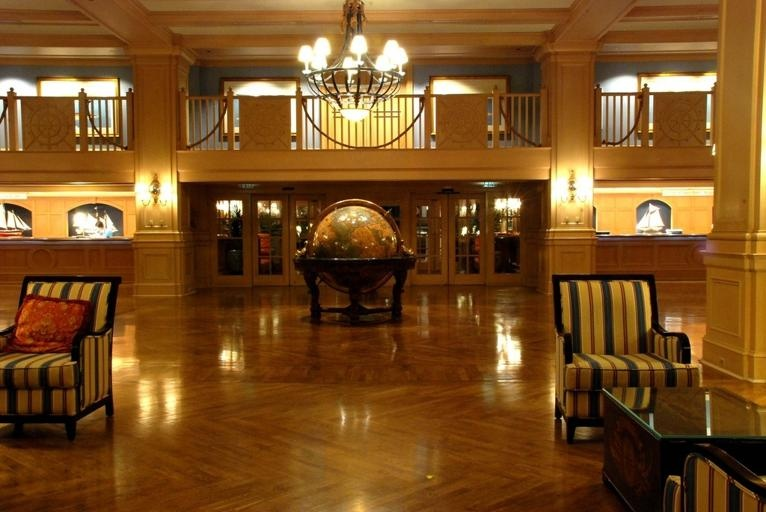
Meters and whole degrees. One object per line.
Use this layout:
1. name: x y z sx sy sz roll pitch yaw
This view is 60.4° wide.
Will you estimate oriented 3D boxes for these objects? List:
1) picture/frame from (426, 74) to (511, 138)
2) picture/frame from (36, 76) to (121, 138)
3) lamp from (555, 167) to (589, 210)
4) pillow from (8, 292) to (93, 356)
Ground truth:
1. picture/frame: 1.715 -2.950 13.158 1.975 1.380 0.147 0 -1 -2
2. picture/frame: -6.276 -3.065 13.510 1.800 1.316 0.136 0 3 3
3. lamp: 3.642 -1.330 12.664 0.807 0.767 0.253 0 1 1
4. pillow: -3.081 0.636 6.093 0.614 0.552 0.186 6 -18 9
